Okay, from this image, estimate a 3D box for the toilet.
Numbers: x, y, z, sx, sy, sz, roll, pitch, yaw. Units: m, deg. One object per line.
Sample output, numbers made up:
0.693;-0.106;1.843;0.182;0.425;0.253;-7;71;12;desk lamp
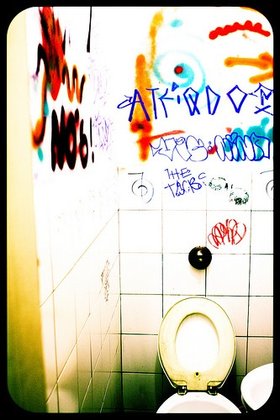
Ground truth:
0.256;0.640;1.534;0.346;0.437;0.257;-1;1;2;toilet
